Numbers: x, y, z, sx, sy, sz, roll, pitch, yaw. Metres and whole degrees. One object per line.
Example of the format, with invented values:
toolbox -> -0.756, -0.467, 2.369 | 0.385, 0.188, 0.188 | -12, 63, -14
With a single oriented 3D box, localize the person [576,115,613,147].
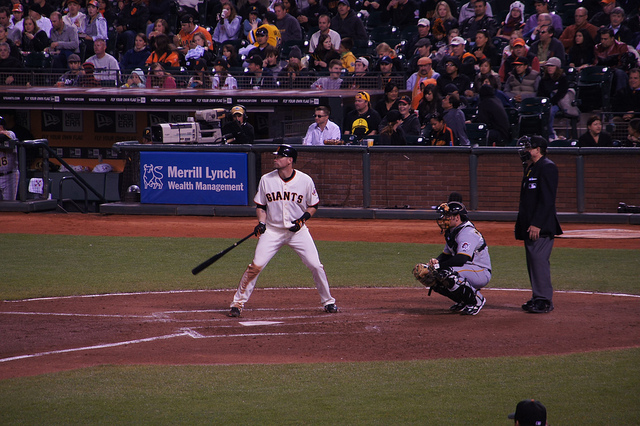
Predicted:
person -> 6.640, -1.874, 24.203 | 1.167, 0.827, 0.583 | -3, 9, -21

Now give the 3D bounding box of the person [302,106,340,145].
person -> 0.038, -2.163, 24.978 | 0.909, 0.904, 0.630 | -1, 4, 3

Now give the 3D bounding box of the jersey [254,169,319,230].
jersey -> -0.581, -0.236, 17.636 | 1.094, 1.035, 0.373 | -1, 4, -2

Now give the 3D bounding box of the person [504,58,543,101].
person -> 5.241, -3.340, 25.906 | 0.897, 1.164, 1.075 | -16, 18, -37

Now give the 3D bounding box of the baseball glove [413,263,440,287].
baseball glove -> 1.840, 1.043, 17.386 | 0.409, 0.279, 0.461 | -4, -7, 22

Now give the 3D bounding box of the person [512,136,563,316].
person -> 3.848, 0.206, 17.741 | 0.646, 3.113, 0.595 | -3, 5, -23

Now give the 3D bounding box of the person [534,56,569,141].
person -> 5.806, -2.866, 25.178 | 0.705, 2.065, 0.793 | 2, 6, 39

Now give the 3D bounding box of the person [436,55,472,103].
person -> 3.500, -3.418, 26.144 | 1.042, 1.155, 0.756 | 0, -7, 12

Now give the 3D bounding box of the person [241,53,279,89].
person -> -1.674, -3.864, 27.681 | 0.980, 0.965, 0.767 | -2, 4, -9

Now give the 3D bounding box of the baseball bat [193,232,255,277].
baseball bat -> -1.986, 0.887, 20.935 | 1.764, 0.177, 0.177 | -26, -40, 2

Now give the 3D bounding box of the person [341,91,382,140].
person -> 0.992, -2.435, 25.354 | 1.118, 1.164, 0.994 | 5, 16, 33

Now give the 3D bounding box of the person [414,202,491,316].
person -> 2.373, 0.799, 17.551 | 1.261, 1.987, 0.528 | -2, 4, -3
